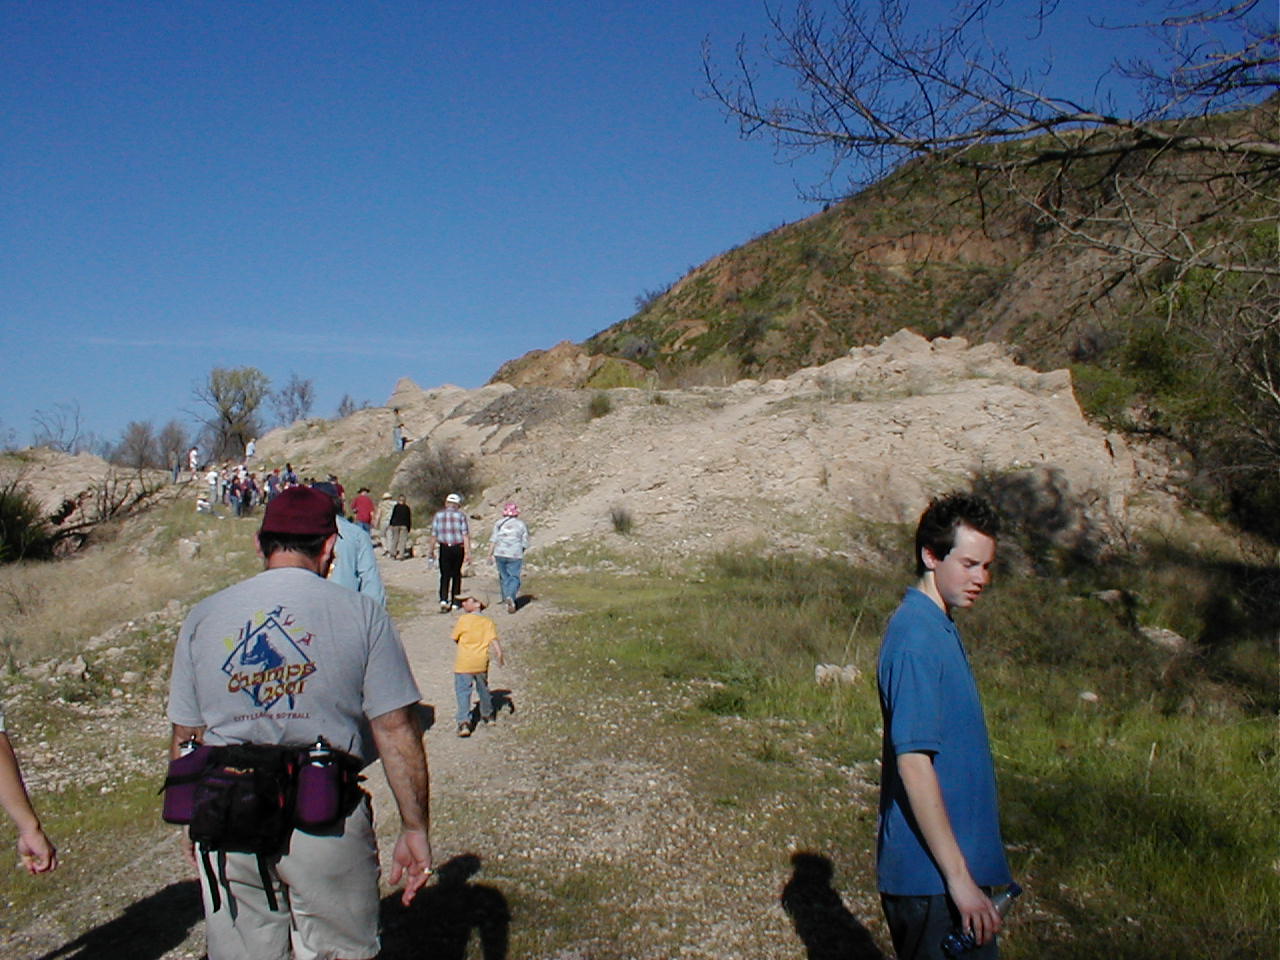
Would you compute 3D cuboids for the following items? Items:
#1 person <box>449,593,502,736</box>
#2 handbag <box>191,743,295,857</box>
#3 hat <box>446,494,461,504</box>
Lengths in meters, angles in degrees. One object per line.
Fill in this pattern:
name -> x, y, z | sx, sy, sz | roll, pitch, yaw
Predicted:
person -> -1.791, 1.910, 10.770 | 0.442, 1.467, 1.124 | -1, 11, -9
handbag -> -2.479, 1.963, 6.132 | 0.695, 0.717, 0.662 | -9, -16, 37
hat -> -3.531, 0.324, 18.659 | 0.190, 0.116, 0.304 | 6, 5, -6
